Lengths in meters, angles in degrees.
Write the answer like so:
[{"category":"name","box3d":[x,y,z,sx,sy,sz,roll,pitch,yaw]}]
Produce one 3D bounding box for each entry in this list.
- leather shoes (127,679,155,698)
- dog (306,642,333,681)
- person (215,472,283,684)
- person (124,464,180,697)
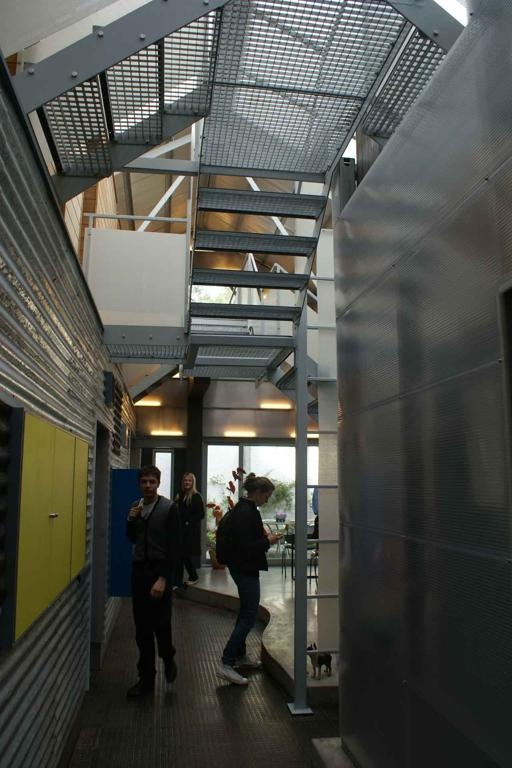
[{"category":"leather shoes","box3d":[-0.929,2.475,4.011,0.087,0.111,0.262,5,-17,38]},{"category":"dog","box3d":[0.532,2.314,4.102,0.294,0.242,0.192,5,-14,-16]},{"category":"person","box3d":[-0.090,1.757,4.479,0.535,1.842,0.828,0,-14,3]},{"category":"person","box3d":[-0.845,1.596,3.963,0.449,1.788,0.601,3,-14,-8]}]
